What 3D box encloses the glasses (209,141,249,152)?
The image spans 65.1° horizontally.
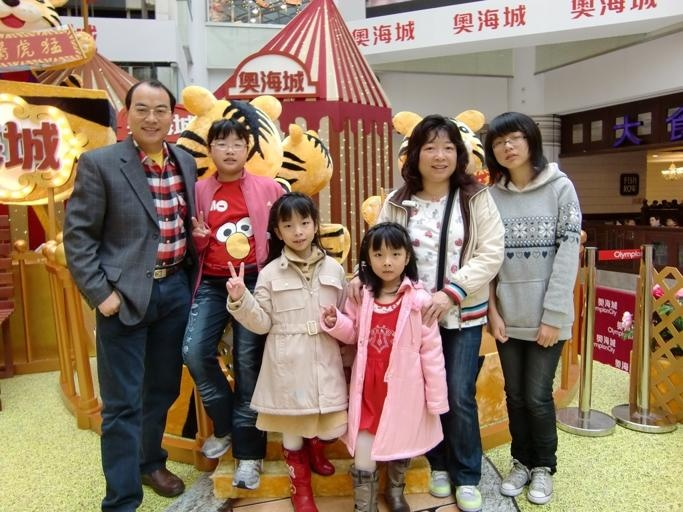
[{"bbox_3d":[-0.665,-0.633,3.125,0.212,0.071,0.089,-7,11,-14],"label":"glasses"}]

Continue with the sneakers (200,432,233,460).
[{"bbox_3d":[-0.736,1.100,3.113,0.094,0.088,0.200,13,-6,13],"label":"sneakers"}]

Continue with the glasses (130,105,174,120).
[{"bbox_3d":[-1.060,-0.780,2.952,0.225,0.074,0.065,-8,11,-19],"label":"glasses"}]

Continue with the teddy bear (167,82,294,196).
[{"bbox_3d":[-0.742,-0.815,3.870,0.797,0.836,0.793,-3,0,43],"label":"teddy bear"}]

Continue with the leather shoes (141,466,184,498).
[{"bbox_3d":[-1.068,1.354,3.198,0.290,0.138,0.125,9,11,29],"label":"leather shoes"}]

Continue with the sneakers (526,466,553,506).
[{"bbox_3d":[1.155,1.342,3.127,0.099,0.112,0.247,-1,0,12],"label":"sneakers"}]

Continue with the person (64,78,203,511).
[{"bbox_3d":[-1.095,0.395,3.001,0.709,2.125,0.441,-9,12,-25],"label":"person"}]

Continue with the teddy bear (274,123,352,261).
[{"bbox_3d":[-0.343,-0.474,4.454,0.731,1.067,0.722,3,11,-15],"label":"teddy bear"}]
